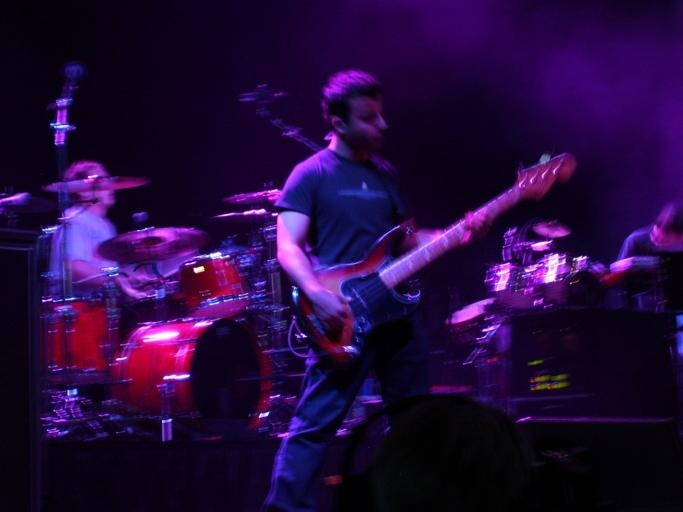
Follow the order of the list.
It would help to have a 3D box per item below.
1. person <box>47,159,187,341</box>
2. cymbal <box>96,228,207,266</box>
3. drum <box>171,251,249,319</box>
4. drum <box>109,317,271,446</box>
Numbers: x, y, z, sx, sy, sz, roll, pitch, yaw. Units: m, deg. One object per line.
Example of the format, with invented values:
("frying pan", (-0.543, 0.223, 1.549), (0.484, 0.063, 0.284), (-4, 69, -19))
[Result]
("person", (-1.868, -0.100, 5.963), (1.109, 1.261, 0.937), (-2, -1, -3))
("cymbal", (-1.430, -0.081, 5.503), (0.807, 0.259, 0.614), (1, -5, -13))
("drum", (-0.968, 0.225, 5.443), (0.517, 0.494, 0.327), (1, -6, -10))
("drum", (-1.047, 0.814, 5.415), (0.882, 1.005, 1.089), (5, 6, 37))
